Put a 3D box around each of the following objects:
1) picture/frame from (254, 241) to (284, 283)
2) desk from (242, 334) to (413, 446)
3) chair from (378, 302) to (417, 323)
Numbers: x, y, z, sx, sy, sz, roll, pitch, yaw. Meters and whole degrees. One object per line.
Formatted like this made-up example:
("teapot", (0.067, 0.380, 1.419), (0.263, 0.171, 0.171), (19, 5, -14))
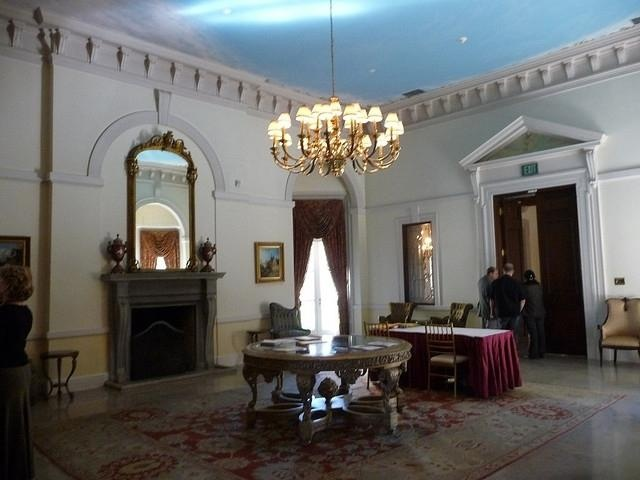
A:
("picture/frame", (-1.183, 0.501, 10.049), (0.888, 1.018, 0.095), (1, -5, -44))
("desk", (0.144, 1.655, 5.513), (1.378, 0.666, 1.389), (-1, 0, -23))
("chair", (1.939, 1.745, 10.884), (0.700, 0.443, 0.520), (-2, -2, 17))
